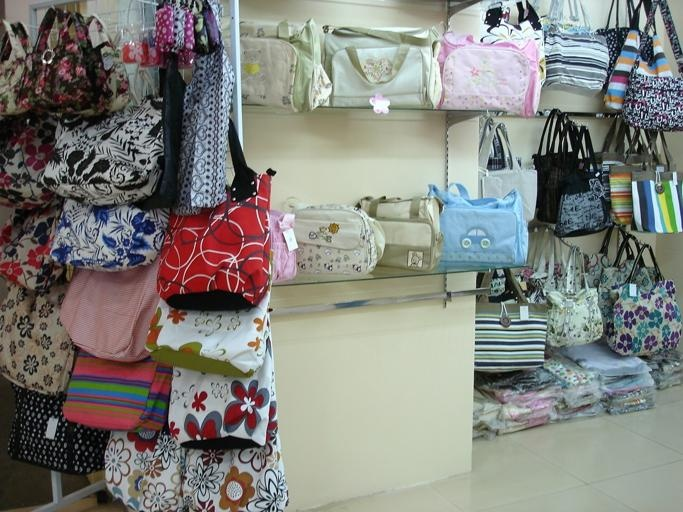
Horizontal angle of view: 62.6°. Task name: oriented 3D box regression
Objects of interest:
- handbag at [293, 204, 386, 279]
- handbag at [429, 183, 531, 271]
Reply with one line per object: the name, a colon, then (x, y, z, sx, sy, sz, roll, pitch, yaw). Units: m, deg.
handbag: (-0.050, -0.027, 2.311, 0.172, 0.324, 0.467, 21, -13, -31)
handbag: (0.610, -0.118, 2.531, 0.452, 0.391, 0.276, 1, -7, 16)
